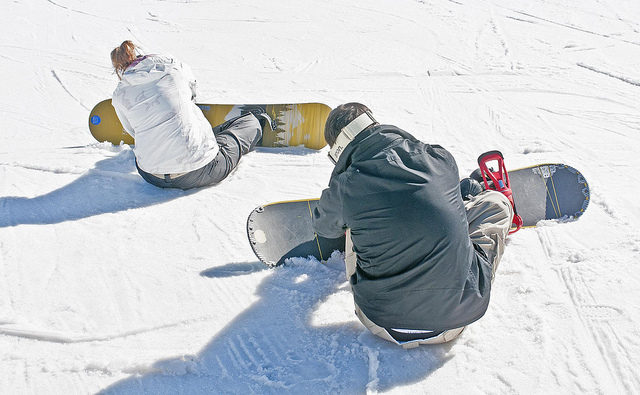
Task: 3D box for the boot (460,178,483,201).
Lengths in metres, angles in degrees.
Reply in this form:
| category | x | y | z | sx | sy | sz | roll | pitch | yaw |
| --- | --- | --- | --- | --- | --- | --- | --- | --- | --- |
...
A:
| category | x | y | z | sx | sy | sz | roll | pitch | yaw |
| --- | --- | --- | --- | --- | --- | --- | --- | --- | --- |
| boot | 2.020 | -0.098 | 9.534 | 0.241 | 0.127 | 0.182 | -33 | 91 | -25 |
